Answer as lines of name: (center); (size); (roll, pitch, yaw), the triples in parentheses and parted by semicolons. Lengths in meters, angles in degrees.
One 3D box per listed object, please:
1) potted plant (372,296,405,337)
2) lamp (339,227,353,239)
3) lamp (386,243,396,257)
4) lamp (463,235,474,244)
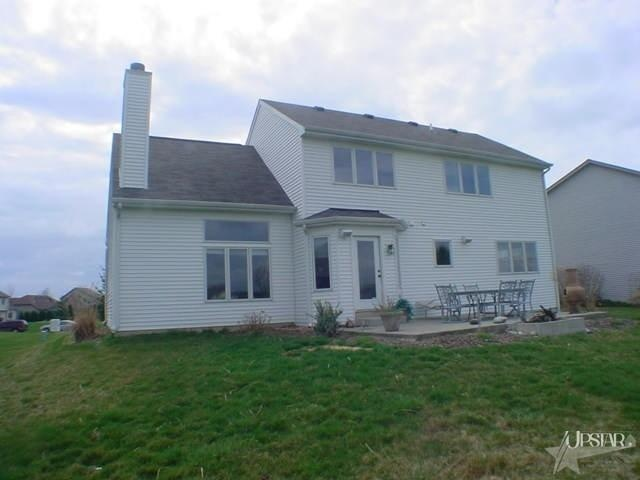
potted plant: (2.079, 2.167, 13.364); (0.829, 0.814, 0.800); (5, -12, -22)
lamp: (0.892, -0.196, 15.277); (0.494, 0.363, 0.162); (-7, 11, -25)
lamp: (2.390, 0.338, 15.960); (0.367, 0.373, 0.686); (1, 1, 3)
lamp: (5.850, 0.014, 18.540); (0.552, 0.332, 0.122); (-8, 11, -30)
